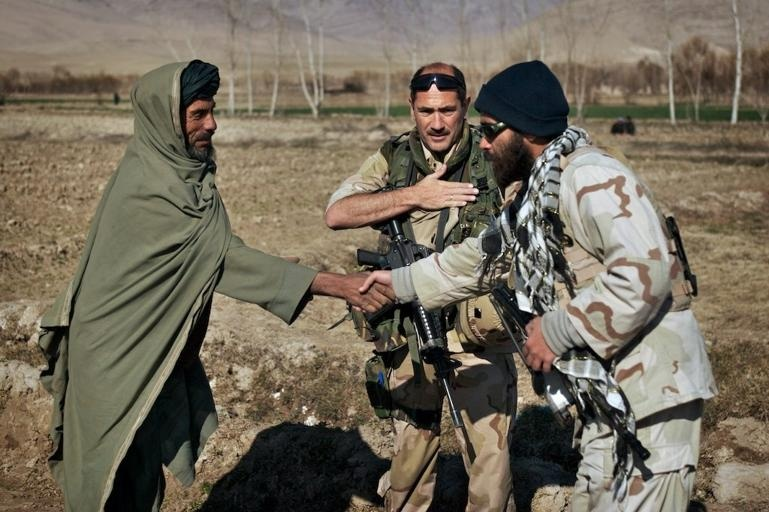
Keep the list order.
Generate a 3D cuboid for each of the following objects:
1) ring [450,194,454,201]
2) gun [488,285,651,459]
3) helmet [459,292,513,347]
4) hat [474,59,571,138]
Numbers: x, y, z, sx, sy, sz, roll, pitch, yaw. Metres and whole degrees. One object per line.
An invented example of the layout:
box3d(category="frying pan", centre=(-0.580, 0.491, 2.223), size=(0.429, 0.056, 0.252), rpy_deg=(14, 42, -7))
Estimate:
box3d(category="ring", centre=(0.626, -0.543, 8.414), size=(0.044, 0.048, 0.011), rpy_deg=(1, -21, 8))
box3d(category="gun", centre=(1.551, 0.933, 7.592), size=(0.463, 1.784, 0.717), rpy_deg=(-22, -16, -51))
box3d(category="helmet", centre=(0.956, 0.603, 8.483), size=(0.370, 0.434, 0.524), rpy_deg=(-11, 1, 24))
box3d(category="hat", centre=(1.185, -1.292, 7.610), size=(0.740, 0.514, 0.568), rpy_deg=(22, 22, -27))
